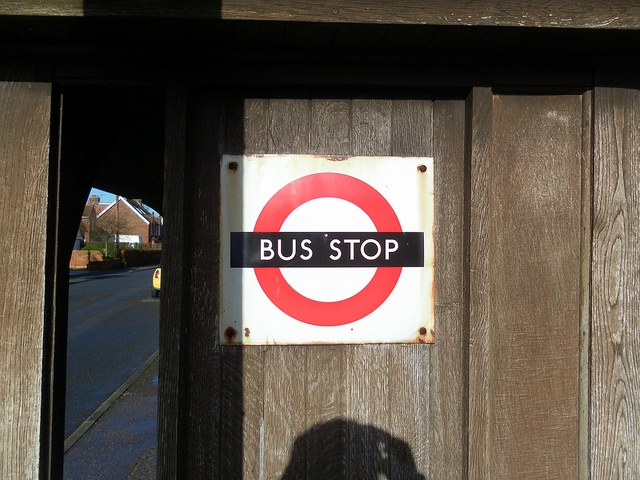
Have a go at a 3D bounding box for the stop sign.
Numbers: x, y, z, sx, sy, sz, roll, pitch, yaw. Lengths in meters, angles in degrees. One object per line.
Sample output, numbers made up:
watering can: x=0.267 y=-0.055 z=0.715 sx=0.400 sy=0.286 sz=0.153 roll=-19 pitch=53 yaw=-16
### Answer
stop sign: x=-0.011 y=0.098 z=4.109 sx=0.892 sy=0.908 sz=0.068 roll=0 pitch=-4 yaw=-4
